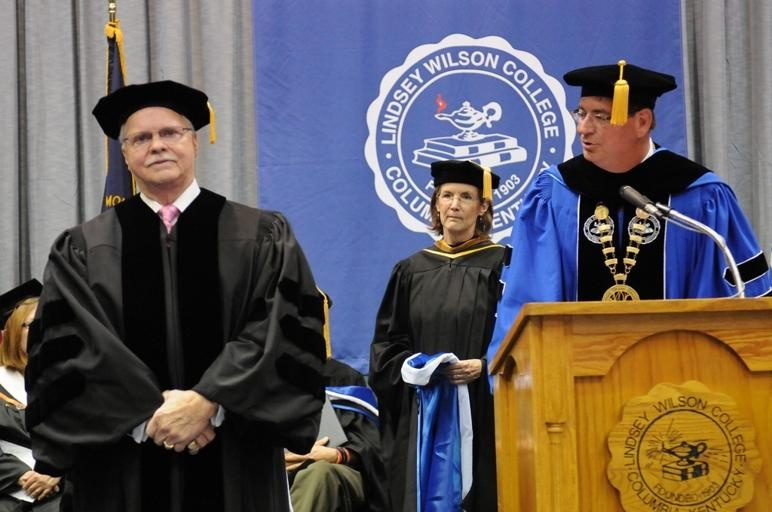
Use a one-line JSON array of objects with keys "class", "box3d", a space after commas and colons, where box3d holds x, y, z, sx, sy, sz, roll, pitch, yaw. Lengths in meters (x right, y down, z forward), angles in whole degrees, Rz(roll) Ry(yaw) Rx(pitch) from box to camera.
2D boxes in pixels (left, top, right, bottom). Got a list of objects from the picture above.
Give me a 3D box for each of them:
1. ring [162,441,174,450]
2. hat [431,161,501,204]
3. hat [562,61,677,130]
[{"class": "ring", "box3d": [-1.057, 0.906, 5.396, 0.068, 0.024, 0.050, 15, -5, 15]}, {"class": "hat", "box3d": [0.543, -0.515, 7.503, 0.354, 0.103, 0.309, 7, -3, -15]}, {"class": "hat", "box3d": [1.247, -0.898, 6.022, 0.439, 0.275, 0.458, -1, 1, 29]}]
